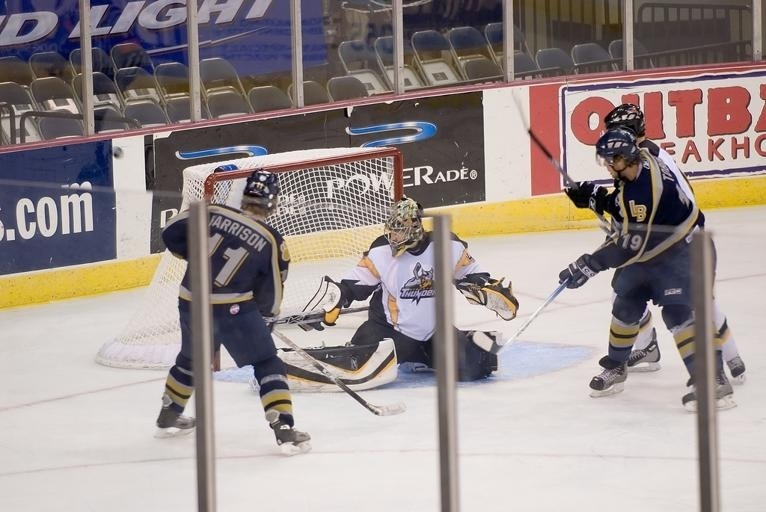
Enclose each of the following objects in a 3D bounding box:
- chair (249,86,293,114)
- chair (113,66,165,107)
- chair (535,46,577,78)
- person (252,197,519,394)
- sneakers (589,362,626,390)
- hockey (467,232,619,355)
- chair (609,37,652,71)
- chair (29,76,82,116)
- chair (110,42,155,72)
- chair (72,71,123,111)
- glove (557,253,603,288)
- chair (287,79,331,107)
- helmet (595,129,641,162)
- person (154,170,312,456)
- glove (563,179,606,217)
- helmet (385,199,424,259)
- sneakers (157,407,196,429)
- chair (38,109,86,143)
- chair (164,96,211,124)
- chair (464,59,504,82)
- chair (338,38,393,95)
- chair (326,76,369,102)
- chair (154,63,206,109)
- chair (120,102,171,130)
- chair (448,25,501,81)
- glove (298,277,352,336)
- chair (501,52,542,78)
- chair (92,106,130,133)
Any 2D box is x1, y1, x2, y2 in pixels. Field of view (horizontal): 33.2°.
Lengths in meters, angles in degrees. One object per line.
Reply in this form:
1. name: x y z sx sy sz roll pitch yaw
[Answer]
1. chair: -0.842 -1.202 9.873 0.235 0.283 0.227 -14 41 -16
2. chair: -1.766 -1.236 9.314 0.228 0.345 0.288 -10 2 -31
3. chair: 1.421 -1.610 10.716 0.250 0.323 0.248 -20 40 -12
4. person: 0.062 0.232 6.788 1.234 0.900 0.720 -3 6 -8
5. sneakers: 1.016 0.558 5.779 0.079 0.106 0.265 6 3 35
6. hockey: 0.784 0.187 6.158 0.152 0.061 0.806 15 -46 -33
7. chair: 2.090 -1.718 10.831 0.254 0.309 0.285 -36 39 -27
8. chair: -2.300 -1.146 9.175 0.259 0.273 0.324 -19 15 -22
9. chair: -1.806 -1.439 9.275 0.206 0.213 0.263 -16 15 -36
10. chair: -1.985 -1.160 9.192 0.337 0.269 0.253 6 17 44
11. glove: 0.958 0.092 6.302 0.223 0.128 0.088 -32 18 5
12. chair: -0.558 -1.256 9.923 0.207 0.253 0.226 -10 13 -29
13. helmet: 1.166 -0.556 6.461 0.248 0.179 0.193 -6 25 3
14. person: -0.672 0.219 5.679 0.610 1.137 1.321 -5 6 -4
15. glove: 1.058 -0.293 6.645 0.163 0.079 0.204 28 -4 -31
16. helmet: 0.124 -0.133 6.665 0.164 0.293 0.461 -6 6 -14
17. sneakers: -0.821 0.668 5.142 0.069 0.081 0.233 -9 8 -40
18. chair: -2.239 -0.912 9.029 0.241 0.218 0.264 -18 7 -31
19. chair: -1.449 -1.068 9.506 0.215 0.270 0.226 -4 3 -30
20. chair: 0.814 -1.507 10.419 0.187 0.238 0.203 -24 49 -11
21. chair: -0.111 -1.515 10.158 0.333 0.403 0.538 -26 -21 -8
22. chair: -0.287 -1.288 10.098 0.214 0.215 0.254 -27 15 -16
23. chair: -1.502 -1.270 9.406 0.249 0.321 0.271 -11 19 -31
24. chair: -1.711 -1.017 9.359 0.219 0.219 0.256 -19 10 -28
25. chair: 0.724 -1.653 10.393 0.228 0.398 0.306 -30 25 -8
26. glove: -0.324 0.285 7.001 0.111 0.287 0.297 7 -38 -40
27. chair: 1.157 -1.566 10.597 0.233 0.297 0.231 -10 11 -20
28. chair: -1.952 -0.951 9.301 0.194 0.192 0.246 -19 5 -26
